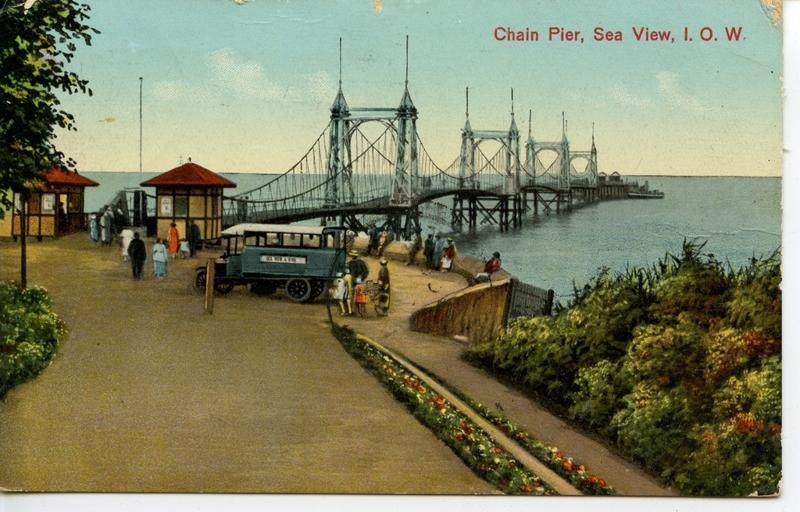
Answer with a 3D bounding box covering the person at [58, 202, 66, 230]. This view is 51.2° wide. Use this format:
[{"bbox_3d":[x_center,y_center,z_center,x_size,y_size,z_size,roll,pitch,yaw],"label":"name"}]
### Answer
[{"bbox_3d":[-11.553,-1.332,28.775,0.268,1.043,0.774,3,9,-16],"label":"person"}]
